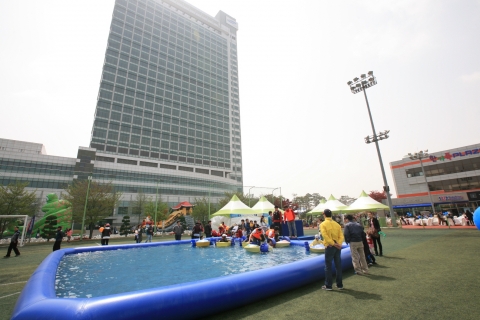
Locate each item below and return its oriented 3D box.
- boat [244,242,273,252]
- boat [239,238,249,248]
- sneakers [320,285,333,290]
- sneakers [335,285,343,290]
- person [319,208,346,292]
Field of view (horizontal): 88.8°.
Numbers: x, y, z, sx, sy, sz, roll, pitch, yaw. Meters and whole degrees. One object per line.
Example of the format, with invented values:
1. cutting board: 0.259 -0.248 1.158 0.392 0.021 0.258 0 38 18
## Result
1. boat: 1.216 6.476 17.749 1.498 0.444 0.935 -1 -12 25
2. boat: 0.361 6.867 19.867 0.694 0.252 0.599 -6 -7 26
3. sneakers: 3.594 5.330 10.127 0.187 0.163 0.392 7 -14 -19
4. sneakers: 4.118 5.230 9.989 0.308 0.167 0.238 -6 -14 12
5. person: 3.863 3.717 10.126 0.983 3.235 0.739 -6 -15 12
